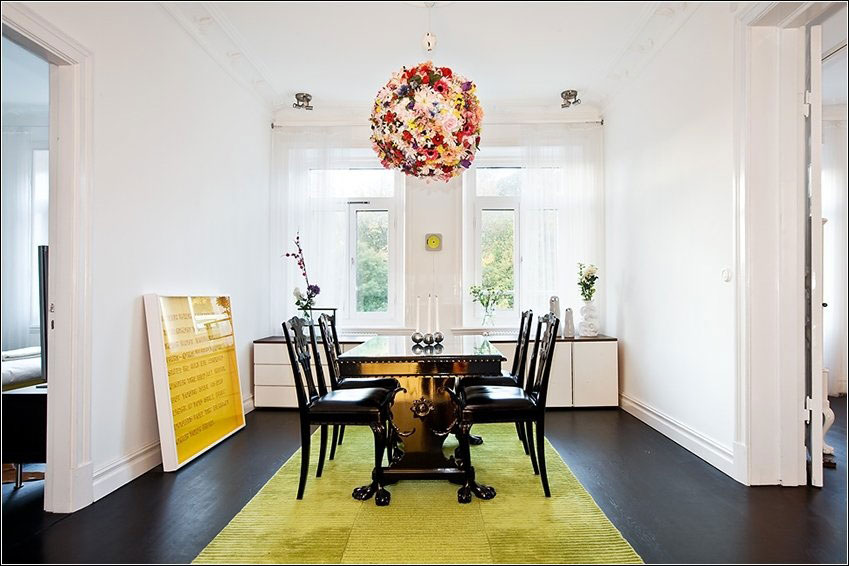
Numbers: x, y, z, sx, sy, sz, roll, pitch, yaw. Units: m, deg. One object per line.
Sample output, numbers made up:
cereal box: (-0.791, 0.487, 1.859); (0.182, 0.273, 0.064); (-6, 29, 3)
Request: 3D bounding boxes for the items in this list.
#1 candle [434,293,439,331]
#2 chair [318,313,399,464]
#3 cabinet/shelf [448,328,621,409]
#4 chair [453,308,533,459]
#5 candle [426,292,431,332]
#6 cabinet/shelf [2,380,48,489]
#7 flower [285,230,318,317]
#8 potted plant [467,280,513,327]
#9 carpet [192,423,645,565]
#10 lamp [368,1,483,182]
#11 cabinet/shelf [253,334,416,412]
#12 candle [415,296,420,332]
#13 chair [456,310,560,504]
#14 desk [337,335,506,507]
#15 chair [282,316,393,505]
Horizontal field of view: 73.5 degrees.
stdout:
candle: (0.165, 0.370, 7.109); (0.074, 0.417, 0.100); (-1, 8, -3)
chair: (-0.588, 0.990, 4.999); (0.798, 1.296, 0.718); (8, 0, 17)
cabinet/shelf: (1.141, 0.865, 5.576); (1.048, 0.629, 0.337); (0, -4, 0)
chair: (0.639, 0.912, 5.125); (0.796, 1.235, 0.751); (-7, 4, -12)
candle: (0.057, 0.345, 7.112); (0.060, 0.448, 0.109); (-1, 8, -3)
cabinet/shelf: (-3.161, 1.213, 4.477); (0.342, 0.818, 0.667); (-7, 10, -36)
flower: (-1.486, -0.087, 6.975); (0.419, 0.999, 0.689); (-3, 8, -15)
potted plant: (0.883, 0.248, 7.382); (0.546, 0.545, 0.382); (4, 9, -4)
carpet: (-0.069, 1.704, 4.132); (2.816, 0.091, 1.380); (-1, 7, -7)
lamp: (-0.010, -1.291, 4.224); (0.943, 1.454, 0.889); (0, 6, 0)
cabinet/shelf: (-1.430, 1.076, 6.936); (1.626, 1.080, 0.817); (-1, -2, -3)
candle: (-0.069, 0.381, 7.115); (0.060, 0.398, 0.101); (-1, 8, -4)
chair: (0.628, 0.975, 4.810); (0.911, 1.273, 0.954); (0, 7, -13)
desk: (-0.001, 0.945, 5.321); (1.237, 1.389, 2.054); (-1, 14, -1)
chair: (-0.792, 1.045, 5.347); (1.237, 2.012, 1.408); (0, -1, 3)
